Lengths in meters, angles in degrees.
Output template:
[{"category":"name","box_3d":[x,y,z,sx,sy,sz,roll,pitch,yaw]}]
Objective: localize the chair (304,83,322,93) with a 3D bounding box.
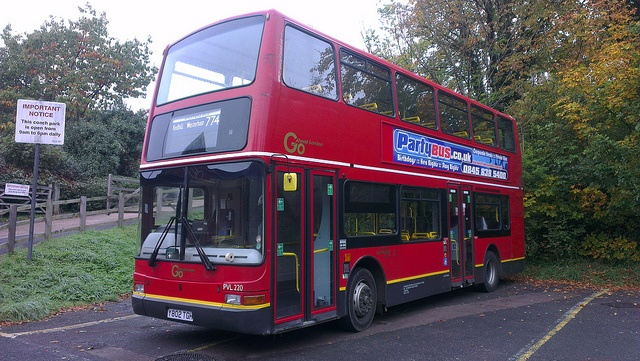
[{"category":"chair","box_3d":[-0.190,-3.150,16.330,0.161,0.269,0.624,15,18,43]}]

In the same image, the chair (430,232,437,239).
[{"category":"chair","box_3d":[4.543,2.171,19.206,0.400,0.278,0.218,0,-8,-34]}]

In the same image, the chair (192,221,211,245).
[{"category":"chair","box_3d":[-3.881,1.729,15.728,0.509,0.863,0.498,-10,-18,-13]}]
